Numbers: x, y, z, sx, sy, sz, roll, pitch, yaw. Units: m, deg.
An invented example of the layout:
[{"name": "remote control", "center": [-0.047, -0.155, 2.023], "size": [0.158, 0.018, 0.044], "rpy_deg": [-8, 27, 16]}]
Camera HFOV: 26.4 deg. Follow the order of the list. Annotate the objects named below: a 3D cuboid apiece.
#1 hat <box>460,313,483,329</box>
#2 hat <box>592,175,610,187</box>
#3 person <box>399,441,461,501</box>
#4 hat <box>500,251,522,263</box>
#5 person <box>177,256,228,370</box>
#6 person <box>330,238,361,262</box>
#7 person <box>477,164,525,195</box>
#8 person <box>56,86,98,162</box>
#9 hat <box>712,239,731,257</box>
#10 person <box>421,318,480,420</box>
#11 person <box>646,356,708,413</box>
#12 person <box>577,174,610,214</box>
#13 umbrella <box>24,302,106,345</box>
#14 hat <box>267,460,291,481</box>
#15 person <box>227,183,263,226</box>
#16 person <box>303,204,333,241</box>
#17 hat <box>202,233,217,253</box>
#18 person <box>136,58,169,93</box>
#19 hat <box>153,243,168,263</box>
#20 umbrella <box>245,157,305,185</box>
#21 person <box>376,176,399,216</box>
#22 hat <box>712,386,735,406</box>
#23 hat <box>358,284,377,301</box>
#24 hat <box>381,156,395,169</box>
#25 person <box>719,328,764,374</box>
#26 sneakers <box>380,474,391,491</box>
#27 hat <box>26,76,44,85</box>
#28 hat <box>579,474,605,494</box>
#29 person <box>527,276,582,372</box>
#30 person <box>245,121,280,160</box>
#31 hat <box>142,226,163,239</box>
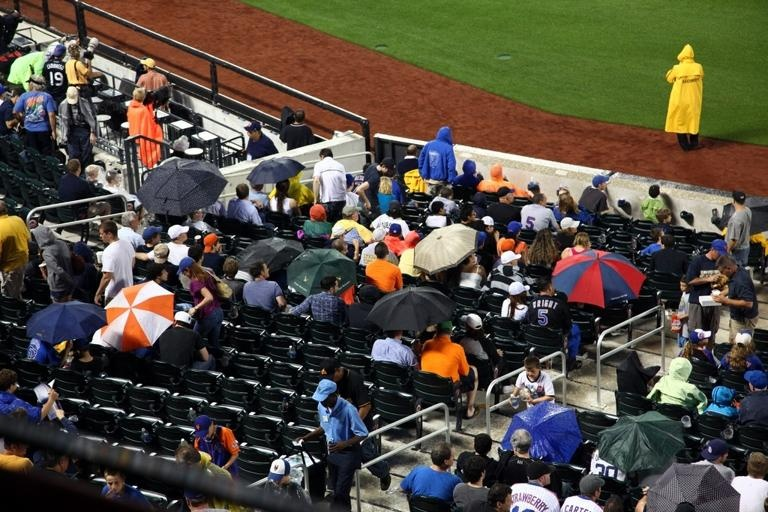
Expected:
[{"name": "hat", "center": [1.536, 1.134, 28.663], "size": [0.231, 0.184, 0.332], "rpy_deg": [-7, 32, -25]}, {"name": "hat", "center": [4.459, -1.561, 33.705], "size": [0.335, 0.174, 0.200], "rpy_deg": [-26, 39, -8]}, {"name": "person", "center": [0.751, 3.551, 26.565], "size": [0.919, 0.868, 0.516], "rpy_deg": [12, 25, 18]}, {"name": "hat", "center": [2.348, 0.032, 30.302], "size": [0.304, 0.139, 0.210], "rpy_deg": [-21, 21, -14]}, {"name": "person", "center": [-3.209, 1.103, 28.984], "size": [0.854, 2.091, 0.773], "rpy_deg": [-4, 21, -7]}, {"name": "person", "center": [-0.740, -0.072, 30.541], "size": [0.280, 0.210, 0.736], "rpy_deg": [22, 5, 13]}, {"name": "person", "center": [2.406, -1.577, 34.223], "size": [0.558, 0.524, 1.057], "rpy_deg": [7, 21, 26]}, {"name": "person", "center": [-6.393, -2.646, 34.094], "size": [0.753, 1.678, 0.433], "rpy_deg": [1, 24, -9]}, {"name": "hat", "center": [6.166, -0.111, 30.082], "size": [0.253, 0.174, 0.368], "rpy_deg": [1, 19, -46]}, {"name": "person", "center": [1.120, 2.026, 28.184], "size": [1.051, 1.687, 0.739], "rpy_deg": [5, 24, -1]}, {"name": "person", "center": [4.988, 2.261, 27.892], "size": [1.067, 0.917, 0.605], "rpy_deg": [6, 20, 24]}, {"name": "person", "center": [4.377, -1.238, 33.685], "size": [0.539, 0.776, 0.805], "rpy_deg": [-10, 29, -20]}, {"name": "umbrella", "center": [-5.457, 1.068, 28.251], "size": [1.349, 0.396, 1.280], "rpy_deg": [-10, 26, -11]}, {"name": "hat", "center": [-1.645, 3.378, 25.590], "size": [0.258, 0.174, 0.371], "rpy_deg": [9, 19, 19]}, {"name": "person", "center": [-2.749, -0.974, 32.649], "size": [0.796, 0.634, 0.414], "rpy_deg": [14, 37, 19]}, {"name": "person", "center": [-1.300, -0.614, 31.873], "size": [0.533, 0.531, 0.718], "rpy_deg": [1, 30, 1]}, {"name": "hat", "center": [-3.209, -0.206, 30.138], "size": [0.254, 0.181, 0.354], "rpy_deg": [7, 38, -1]}, {"name": "person", "center": [-5.180, -4.099, 37.112], "size": [0.690, 0.931, 1.027], "rpy_deg": [-3, 11, -14]}, {"name": "hat", "center": [-4.028, -0.032, 29.610], "size": [0.290, 0.335, 0.344], "rpy_deg": [8, 34, -12]}, {"name": "umbrella", "center": [-2.195, -1.636, 33.070], "size": [1.105, 0.585, 0.736], "rpy_deg": [2, 22, -6]}, {"name": "person", "center": [0.065, -1.189, 33.312], "size": [0.704, 0.703, 0.313], "rpy_deg": [18, 36, 24]}, {"name": "hat", "center": [5.772, 2.390, 27.848], "size": [0.380, 0.296, 0.268], "rpy_deg": [8, 23, 7]}, {"name": "hat", "center": [-0.281, 0.692, 28.842], "size": [0.249, 0.157, 0.319], "rpy_deg": [2, 2, 24]}, {"name": "hat", "center": [0.073, -1.891, 33.953], "size": [0.277, 0.219, 0.503], "rpy_deg": [4, 22, -2]}, {"name": "person", "center": [6.225, 1.771, 28.352], "size": [0.622, 0.684, 0.859], "rpy_deg": [-2, 23, -17]}, {"name": "sneakers", "center": [0.032, 3.805, 27.258], "size": [0.127, 0.125, 0.283], "rpy_deg": [3, 63, 11]}, {"name": "hat", "center": [-7.379, -3.688, 34.750], "size": [0.322, 0.131, 0.429], "rpy_deg": [-4, 14, -34]}, {"name": "hat", "center": [3.265, 3.583, 25.732], "size": [0.251, 0.190, 0.376], "rpy_deg": [14, 33, 36]}, {"name": "person", "center": [3.080, 1.198, 29.284], "size": [1.066, 1.608, 0.781], "rpy_deg": [10, 24, 12]}, {"name": "person", "center": [-2.630, -2.364, 35.234], "size": [0.630, 0.896, 0.733], "rpy_deg": [3, 23, -5]}, {"name": "hat", "center": [-4.270, -0.414, 30.304], "size": [0.334, 0.164, 0.207], "rpy_deg": [-35, 41, -24]}]
